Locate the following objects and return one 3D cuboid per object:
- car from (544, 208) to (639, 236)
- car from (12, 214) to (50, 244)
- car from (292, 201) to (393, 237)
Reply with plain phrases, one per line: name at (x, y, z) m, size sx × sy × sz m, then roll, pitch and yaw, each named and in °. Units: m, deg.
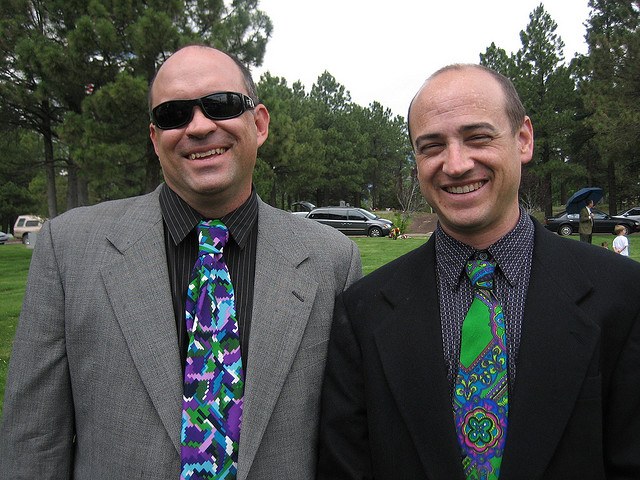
car at (12.747, -0.852, 21.649) m, size 2.937 × 1.195 × 1.397 m, roll -3°, pitch 2°, yaw 9°
car at (-22.672, -0.686, 35.992) m, size 1.635 × 2.095 × 3.654 m, roll -5°, pitch 0°, yaw 9°
car at (1.449, -1.225, 26.284) m, size 4.426 × 2.304 × 1.919 m, roll -1°, pitch 3°, yaw 1°
